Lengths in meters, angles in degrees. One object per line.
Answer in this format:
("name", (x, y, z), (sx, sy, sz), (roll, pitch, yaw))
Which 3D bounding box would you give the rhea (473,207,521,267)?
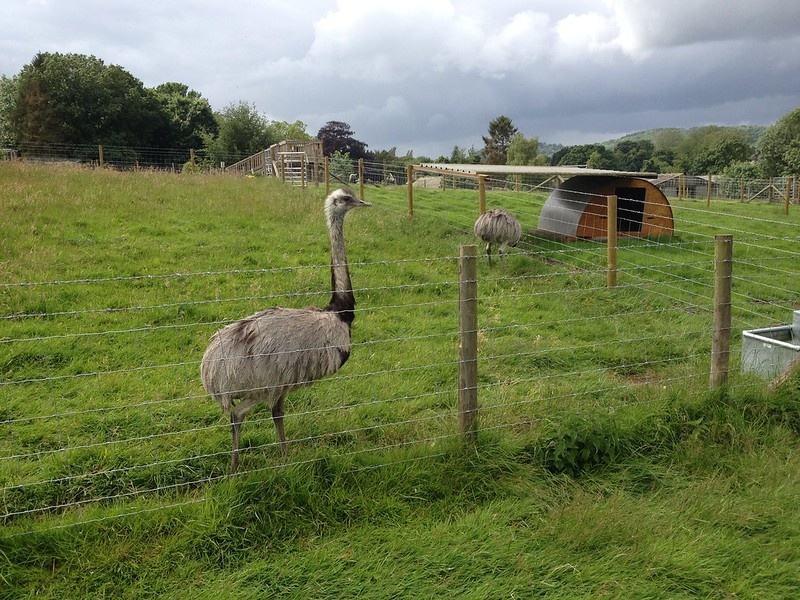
("rhea", (2.264, -1.395, 17.011), (1.082, 1.191, 0.958), (6, 9, 6))

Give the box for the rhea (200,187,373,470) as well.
("rhea", (-1.277, 0.368, 8.204), (1.693, 2.642, 0.826), (-3, 9, -26))
